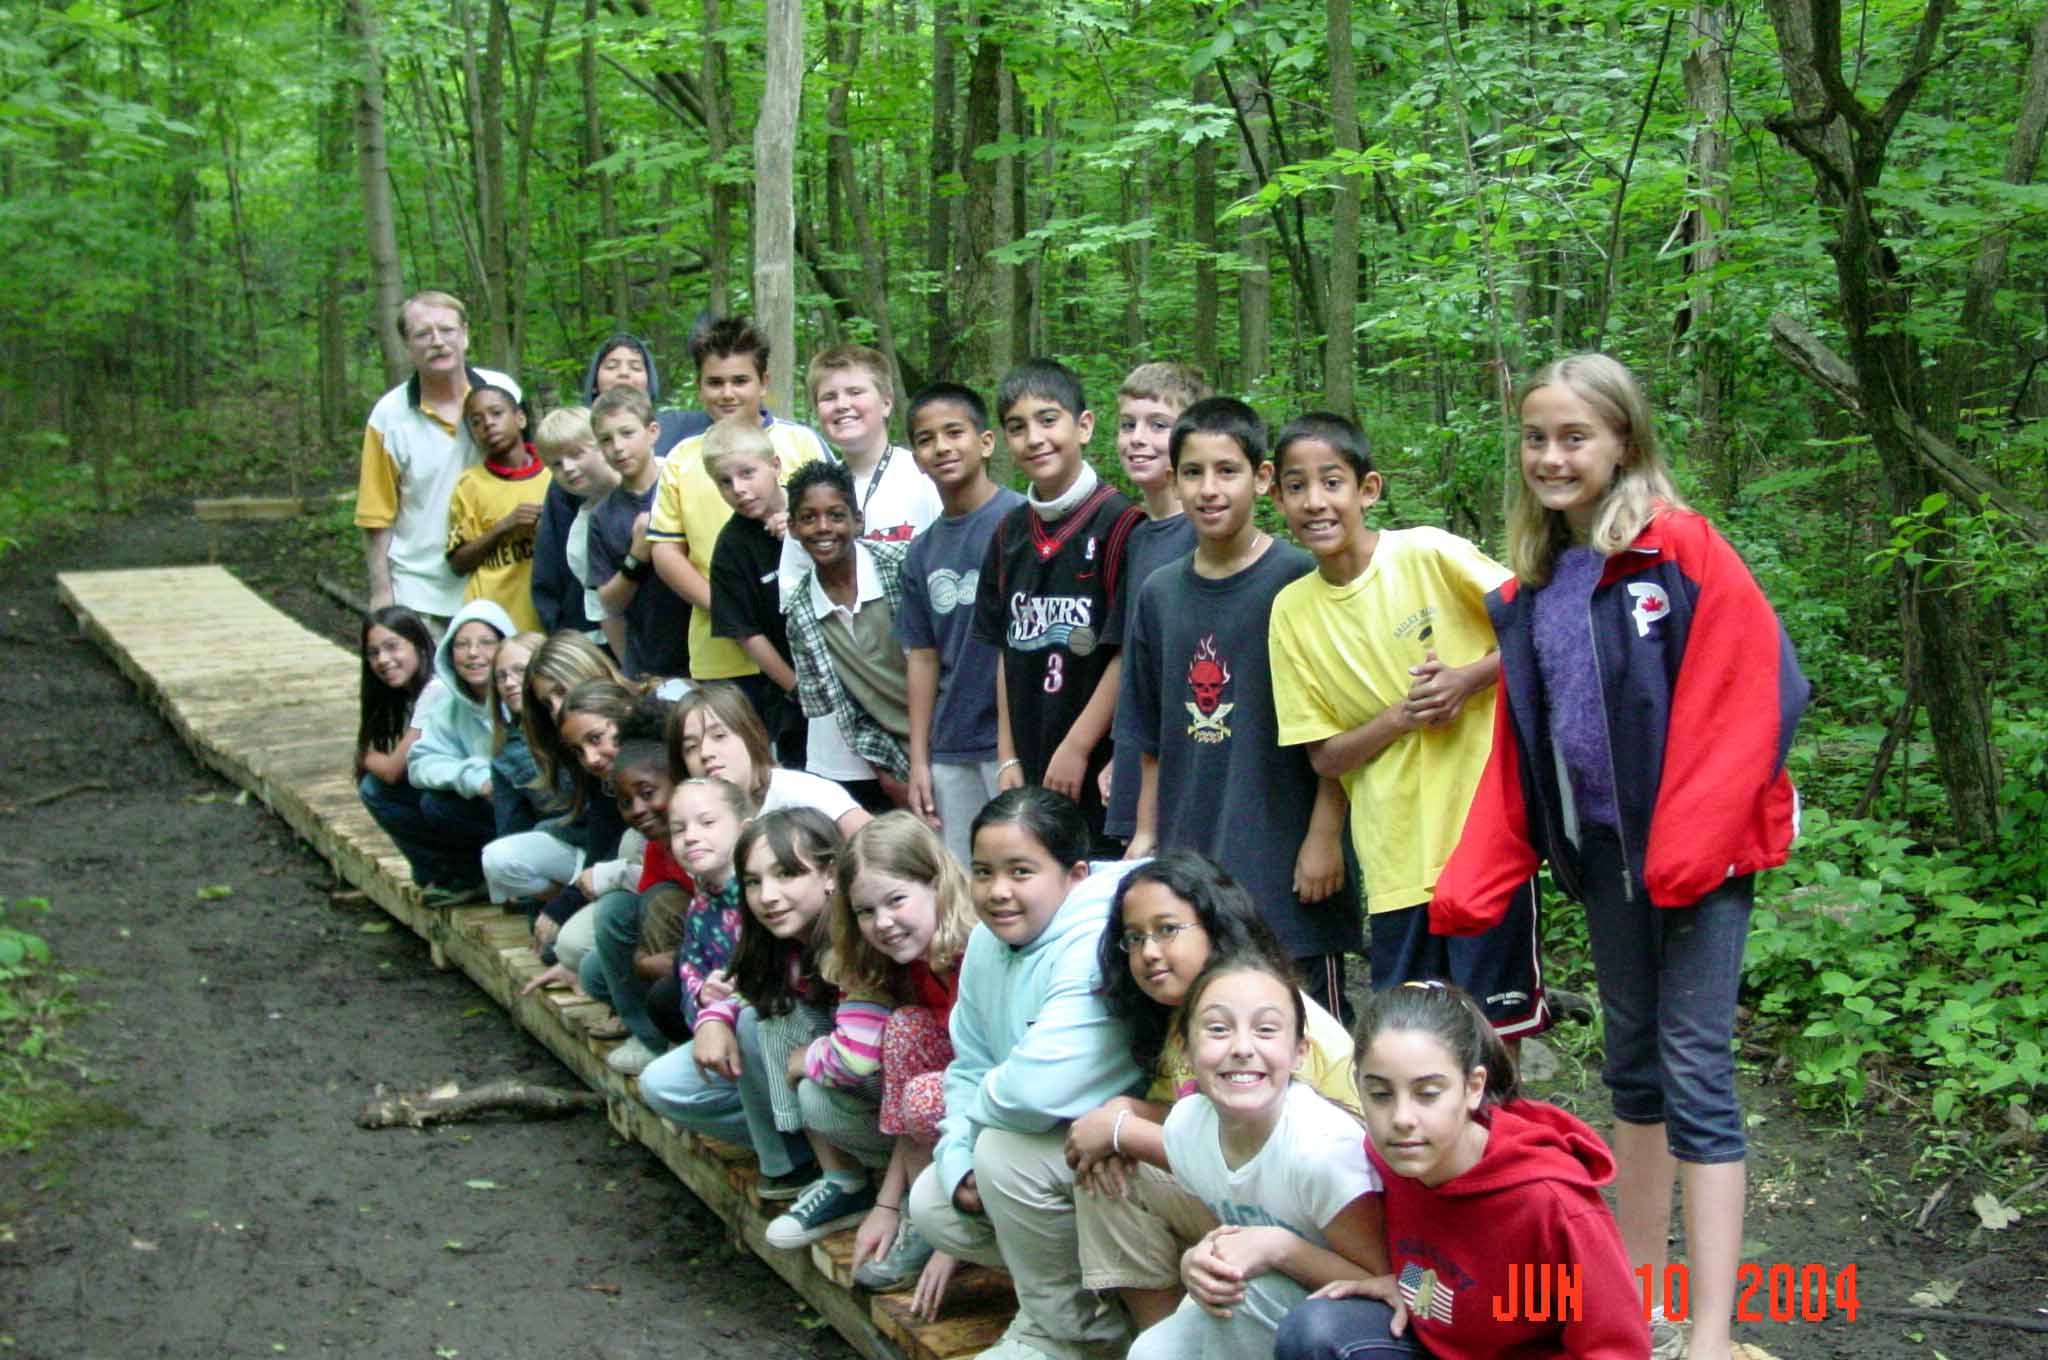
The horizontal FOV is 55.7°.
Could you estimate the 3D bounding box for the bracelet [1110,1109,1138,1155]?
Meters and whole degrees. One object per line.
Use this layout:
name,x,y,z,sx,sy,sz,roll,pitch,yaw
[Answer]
bracelet,0.278,1.380,5.869,0.033,0.103,0.112,8,-22,-5

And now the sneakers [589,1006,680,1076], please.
sneakers,-1.482,1.420,7.454,0.405,0.153,0.135,-4,-2,18

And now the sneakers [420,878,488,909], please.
sneakers,-2.608,0.992,8.831,0.308,0.118,0.107,3,-5,-9

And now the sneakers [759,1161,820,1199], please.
sneakers,-0.837,1.759,6.781,0.246,0.096,0.086,0,7,7

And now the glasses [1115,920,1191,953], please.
glasses,0.372,0.775,5.827,0.112,0.032,0.113,-17,-30,26
